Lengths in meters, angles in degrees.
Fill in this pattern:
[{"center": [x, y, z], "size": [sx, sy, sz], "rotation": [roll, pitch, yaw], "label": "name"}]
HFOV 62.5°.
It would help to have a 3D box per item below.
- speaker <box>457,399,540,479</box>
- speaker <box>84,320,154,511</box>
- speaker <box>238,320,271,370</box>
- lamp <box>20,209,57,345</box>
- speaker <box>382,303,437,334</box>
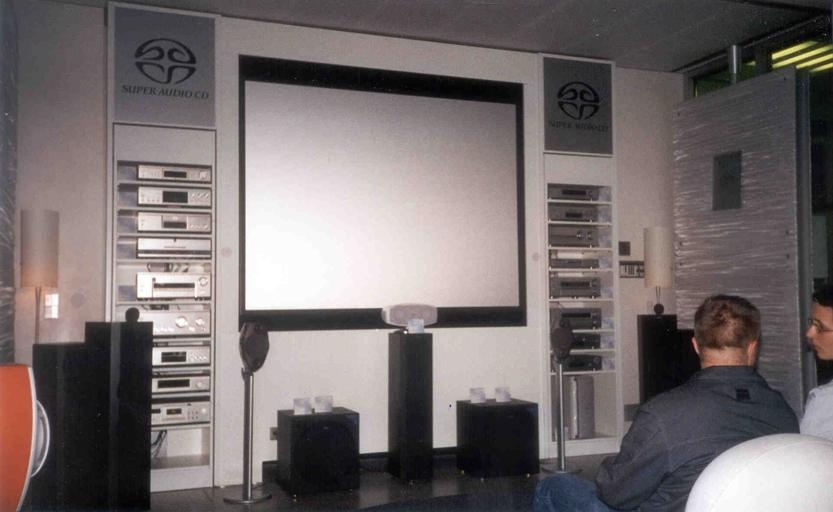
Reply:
[{"center": [0.725, 1.704, 6.572], "size": [0.719, 0.680, 0.699], "rotation": [2, -9, -20], "label": "speaker"}, {"center": [-2.367, 1.278, 5.462], "size": [0.470, 1.508, 0.153], "rotation": [0, -5, -27], "label": "speaker"}, {"center": [-1.399, 0.779, 5.887], "size": [0.231, 0.424, 0.190], "rotation": [-1, -4, -17], "label": "speaker"}, {"center": [-3.160, 0.036, 5.753], "size": [0.264, 0.840, 0.131], "rotation": [1, -5, -35], "label": "lamp"}, {"center": [-0.064, 0.580, 6.478], "size": [0.515, 0.268, 0.498], "rotation": [-2, -4, 1], "label": "speaker"}]
